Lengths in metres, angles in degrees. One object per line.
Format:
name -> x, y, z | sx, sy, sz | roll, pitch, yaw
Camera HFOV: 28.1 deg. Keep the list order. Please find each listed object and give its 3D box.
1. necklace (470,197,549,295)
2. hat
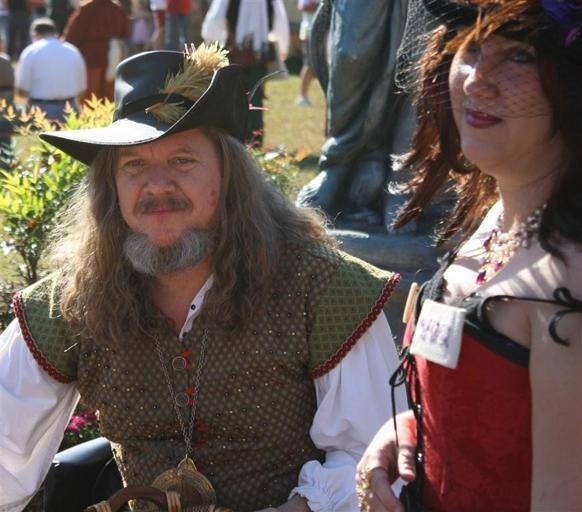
necklace -> 0.683, -0.036, 3.660 | 0.066, 0.197, 0.236 | 33, 48, 0
hat -> -0.455, -0.585, 4.440 | 0.449, 0.260, 0.551 | 14, 13, -3
